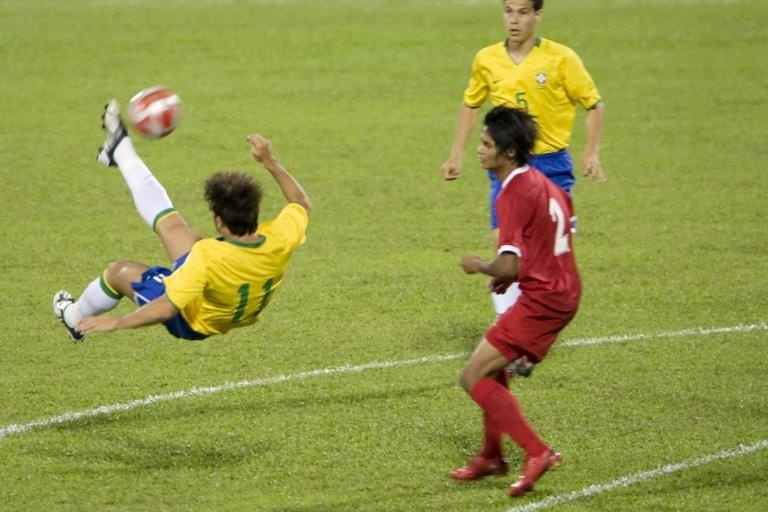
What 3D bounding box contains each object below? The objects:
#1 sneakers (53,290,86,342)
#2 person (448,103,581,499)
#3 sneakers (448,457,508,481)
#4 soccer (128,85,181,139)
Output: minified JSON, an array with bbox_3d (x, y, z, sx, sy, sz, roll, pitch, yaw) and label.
[{"bbox_3d":[-2.653,0.527,9.577,0.164,0.444,0.209,-35,8,6],"label":"sneakers"},{"bbox_3d":[1.012,0.349,8.536,0.883,2.728,1.239,7,24,8],"label":"person"},{"bbox_3d":[0.741,1.610,8.705,0.493,0.159,0.162,-3,9,-7],"label":"sneakers"},{"bbox_3d":[-1.860,-1.193,9.498,0.483,0.315,0.420,-23,20,-10],"label":"soccer"}]
